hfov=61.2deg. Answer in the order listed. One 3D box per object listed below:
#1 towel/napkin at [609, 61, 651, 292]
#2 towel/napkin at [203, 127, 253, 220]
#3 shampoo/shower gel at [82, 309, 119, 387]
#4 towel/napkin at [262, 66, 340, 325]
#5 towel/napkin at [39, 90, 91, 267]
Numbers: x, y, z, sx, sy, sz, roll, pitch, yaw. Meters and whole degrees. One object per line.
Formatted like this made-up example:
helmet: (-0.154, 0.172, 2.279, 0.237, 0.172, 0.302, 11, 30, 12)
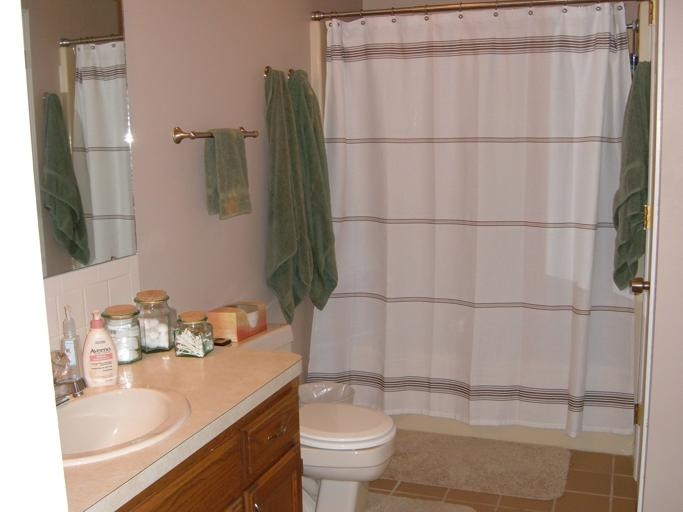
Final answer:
towel/napkin: (1.396, -0.368, 2.766, 0.142, 1.118, 0.226, 4, 11, 16)
towel/napkin: (-0.480, -0.341, 2.382, 0.188, 0.370, 0.185, -7, 13, -37)
shampoo/shower gel: (-0.701, 0.270, 1.686, 0.094, 0.203, 0.109, -3, 12, -25)
towel/napkin: (-0.237, -0.312, 2.861, 0.276, 1.219, 0.461, 7, 12, 30)
towel/napkin: (-0.836, -0.252, 1.759, 0.128, 0.505, 0.073, 5, 18, -1)
